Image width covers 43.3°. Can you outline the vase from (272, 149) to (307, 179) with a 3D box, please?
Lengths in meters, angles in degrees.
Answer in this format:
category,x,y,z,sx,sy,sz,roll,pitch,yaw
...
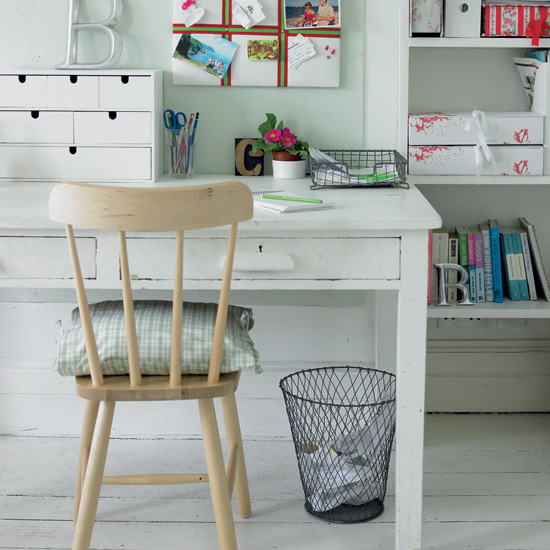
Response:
category,x,y,z,sx,sy,sz,roll,pitch,yaw
vase,0.041,-0.327,2.039,0.080,0.062,0.082,5,10,22

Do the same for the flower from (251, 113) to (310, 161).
category,x,y,z,sx,sy,sz,roll,pitch,yaw
flower,0.012,-0.414,2.072,0.163,0.144,0.142,-4,11,-1

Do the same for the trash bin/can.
category,x,y,z,sx,sy,sz,roll,pitch,yaw
trash bin/can,0.173,0.455,1.985,0.353,0.378,0.360,5,11,38

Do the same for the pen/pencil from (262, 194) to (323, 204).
category,x,y,z,sx,sy,sz,roll,pitch,yaw
pen/pencil,0.037,-0.180,1.640,0.141,0.017,0.029,7,6,21

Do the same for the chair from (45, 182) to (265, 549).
category,x,y,z,sx,sy,sz,roll,pitch,yaw
chair,-0.267,0.176,1.513,0.410,0.776,0.436,-6,11,-14
